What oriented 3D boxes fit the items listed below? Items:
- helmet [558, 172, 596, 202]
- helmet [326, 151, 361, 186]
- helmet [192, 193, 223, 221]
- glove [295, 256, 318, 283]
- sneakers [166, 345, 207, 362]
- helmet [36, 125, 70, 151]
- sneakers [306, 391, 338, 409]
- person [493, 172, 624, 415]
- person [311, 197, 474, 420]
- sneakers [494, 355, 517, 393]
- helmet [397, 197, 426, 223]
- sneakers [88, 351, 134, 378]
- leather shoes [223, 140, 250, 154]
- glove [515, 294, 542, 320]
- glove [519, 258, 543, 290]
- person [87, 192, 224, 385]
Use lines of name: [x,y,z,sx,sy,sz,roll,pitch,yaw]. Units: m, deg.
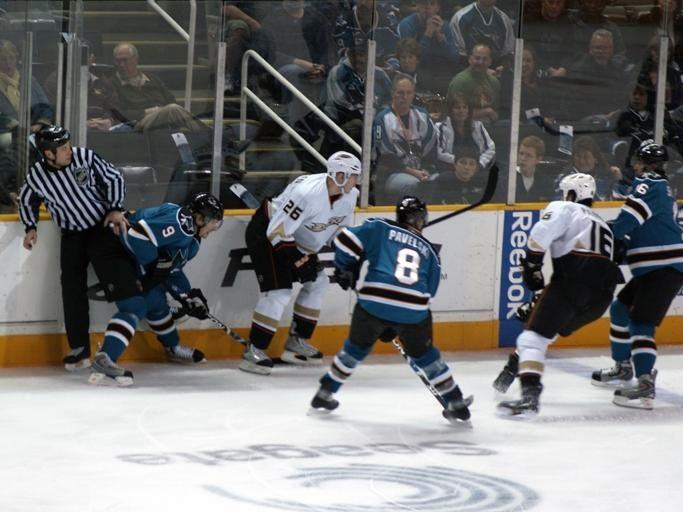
helmet: [1.580,-0.459,5.708,0.208,0.213,0.242,-5,13,-45]
helmet: [0.006,-0.587,5.895,0.276,0.235,0.214,16,14,2]
helmet: [-0.932,-0.365,5.822,0.216,0.179,0.152,16,32,-24]
glove: [-0.243,0.100,6.033,0.154,0.155,0.197,4,21,44]
sneakers: [-1.127,0.699,6.147,0.317,0.124,0.108,2,31,13]
helmet: [-1.902,-0.777,5.610,0.206,0.138,0.156,4,-3,-1]
sneakers: [-0.116,0.891,5.124,0.177,0.111,0.093,-7,23,-22]
person: [1.368,0.323,5.434,0.496,1.312,0.816,13,16,41]
person: [0.283,0.353,5.635,1.150,1.653,0.563,14,21,14]
sneakers: [1.142,0.836,5.869,0.101,0.267,0.122,36,14,14]
helmet: [0.424,-0.280,5.190,0.177,0.146,0.128,-9,21,-20]
sneakers: [-1.459,0.724,5.540,0.362,0.192,0.115,3,0,-5]
leather shoes: [-0.788,-0.815,6.309,0.206,0.101,0.033,-5,14,-34]
glove: [1.306,0.365,5.906,0.070,0.215,0.144,46,2,-22]
glove: [1.238,0.131,5.522,0.156,0.195,0.083,21,27,32]
person: [-1.342,0.214,5.877,0.850,1.258,0.846,13,20,-7]
